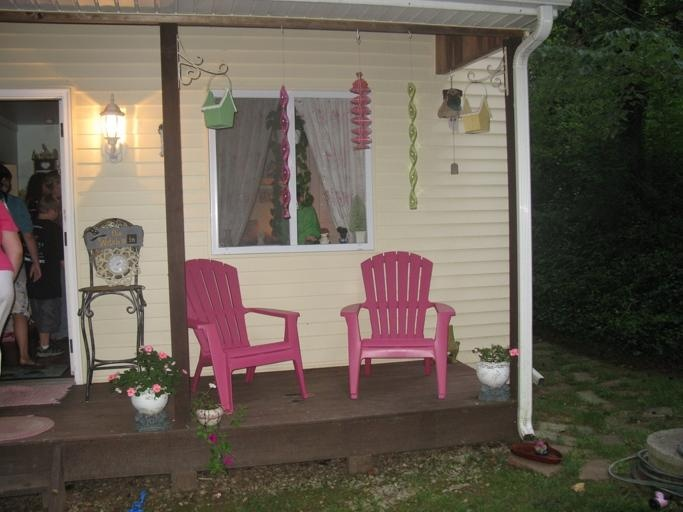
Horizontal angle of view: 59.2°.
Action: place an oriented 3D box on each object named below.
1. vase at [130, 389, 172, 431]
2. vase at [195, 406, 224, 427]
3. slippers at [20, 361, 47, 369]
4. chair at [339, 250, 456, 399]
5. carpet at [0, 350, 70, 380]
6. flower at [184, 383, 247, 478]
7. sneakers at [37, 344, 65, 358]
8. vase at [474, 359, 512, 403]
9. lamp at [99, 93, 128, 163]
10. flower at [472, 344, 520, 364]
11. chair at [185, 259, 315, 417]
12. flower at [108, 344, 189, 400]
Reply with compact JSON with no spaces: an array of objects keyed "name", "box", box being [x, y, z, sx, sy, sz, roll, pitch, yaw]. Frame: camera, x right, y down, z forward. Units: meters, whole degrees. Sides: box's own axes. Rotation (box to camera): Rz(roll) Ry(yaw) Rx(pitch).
[{"name":"vase","box":[-1.436,1.156,4.562,0.278,0.280,0.274,-1,-1,17]},{"name":"vase","box":[-0.992,1.190,4.516,0.150,0.092,0.148,1,2,39]},{"name":"slippers","box":[-3.078,1.101,6.021,0.239,0.058,0.091,1,7,-13]},{"name":"chair","box":[0.482,0.573,5.353,0.938,1.122,0.968,-1,11,2]},{"name":"carpet","box":[-3.037,1.085,5.973,0.607,0.156,0.964,-7,11,-25]},{"name":"flower","box":[-0.973,1.327,4.612,0.480,0.713,0.286,-1,-15,2]},{"name":"sneakers","box":[-3.150,1.011,6.546,0.304,0.131,0.114,-4,11,-32]},{"name":"vase","box":[1.281,1.040,5.076,0.314,0.317,0.297,-3,1,24]},{"name":"lamp","box":[-2.134,-1.168,5.608,0.232,0.575,0.211,1,4,1]},{"name":"flower","box":[1.341,0.848,5.207,0.398,0.177,0.395,0,3,19]},{"name":"chair","box":[-0.871,0.598,5.029,0.896,1.025,1.201,-2,5,-31]},{"name":"flower","box":[-1.447,0.903,4.552,0.488,0.466,0.246,-1,-38,-11]}]
